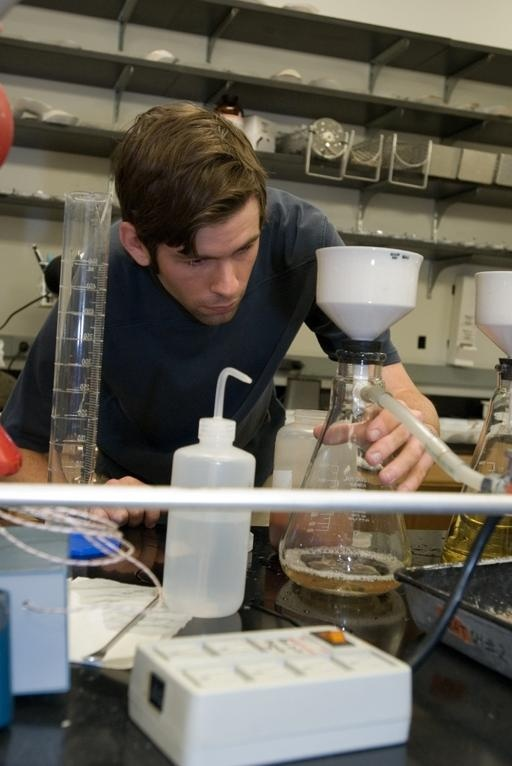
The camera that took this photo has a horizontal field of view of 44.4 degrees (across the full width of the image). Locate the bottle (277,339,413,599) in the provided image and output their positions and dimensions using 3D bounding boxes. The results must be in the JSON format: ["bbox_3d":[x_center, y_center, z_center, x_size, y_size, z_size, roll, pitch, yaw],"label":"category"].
[{"bbox_3d":[0.114,0.099,0.756,0.157,0.289,0.150,2,10,0],"label":"bottle"}]
